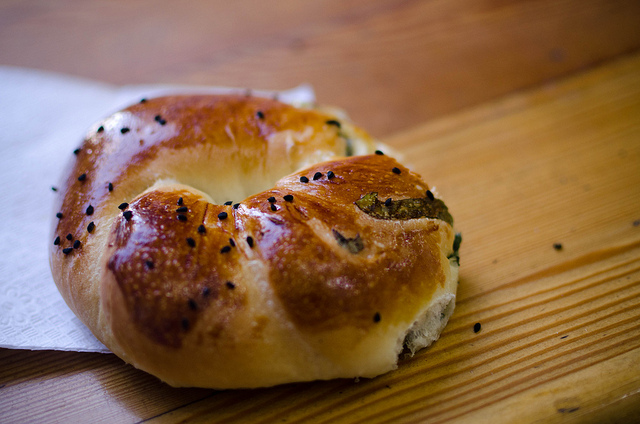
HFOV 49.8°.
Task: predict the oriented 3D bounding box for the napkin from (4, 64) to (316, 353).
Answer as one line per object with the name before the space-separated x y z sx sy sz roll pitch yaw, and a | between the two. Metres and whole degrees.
napkin | -0.724 -0.016 3.456 1.766 1.774 0.951 -10 81 55
